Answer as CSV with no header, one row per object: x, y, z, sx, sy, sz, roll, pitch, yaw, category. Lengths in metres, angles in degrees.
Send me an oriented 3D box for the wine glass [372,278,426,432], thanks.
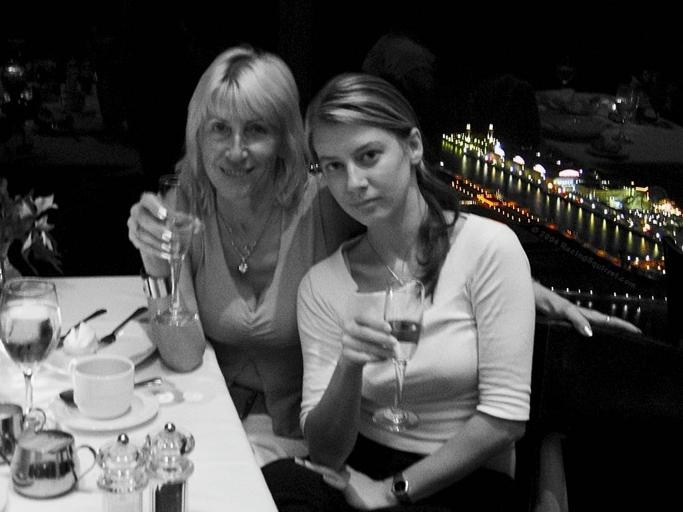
0.145,0.226,1.378,0.107,0.371,0.182,9,17,15,wine glass

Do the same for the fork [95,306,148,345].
-0.598,0.186,1.639,0.035,0.025,0.214,40,23,0,fork
